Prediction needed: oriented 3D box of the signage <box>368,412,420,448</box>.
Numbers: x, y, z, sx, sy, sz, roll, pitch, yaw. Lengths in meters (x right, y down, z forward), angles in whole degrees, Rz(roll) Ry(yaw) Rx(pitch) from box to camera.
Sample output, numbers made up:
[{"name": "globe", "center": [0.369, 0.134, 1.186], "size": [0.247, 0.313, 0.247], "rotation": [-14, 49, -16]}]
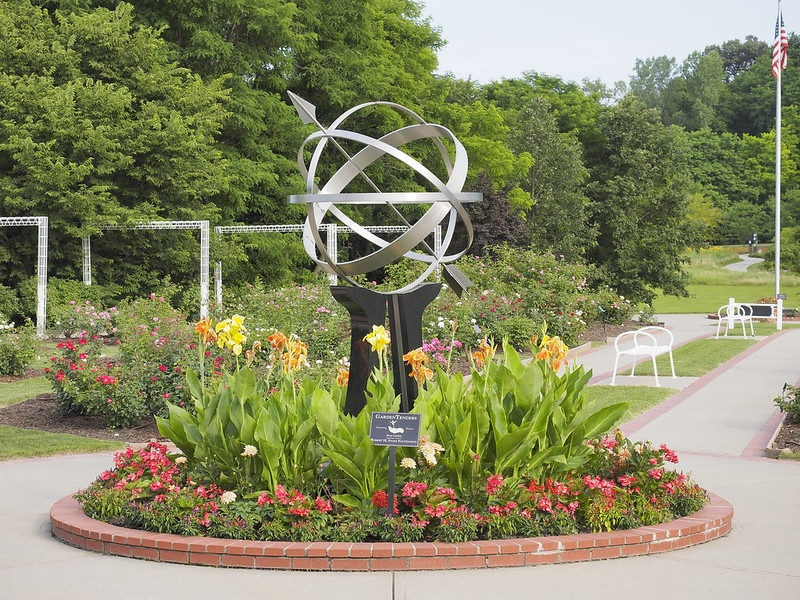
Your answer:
[{"name": "signage", "center": [-0.067, 1.477, 12.345], "size": [0.421, 0.282, 0.042], "rotation": [4, -7, 0]}]

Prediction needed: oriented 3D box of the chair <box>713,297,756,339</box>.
[{"name": "chair", "center": [10.655, 0.591, 34.510], "size": [1.048, 1.297, 0.994], "rotation": [0, -6, 1]}]
